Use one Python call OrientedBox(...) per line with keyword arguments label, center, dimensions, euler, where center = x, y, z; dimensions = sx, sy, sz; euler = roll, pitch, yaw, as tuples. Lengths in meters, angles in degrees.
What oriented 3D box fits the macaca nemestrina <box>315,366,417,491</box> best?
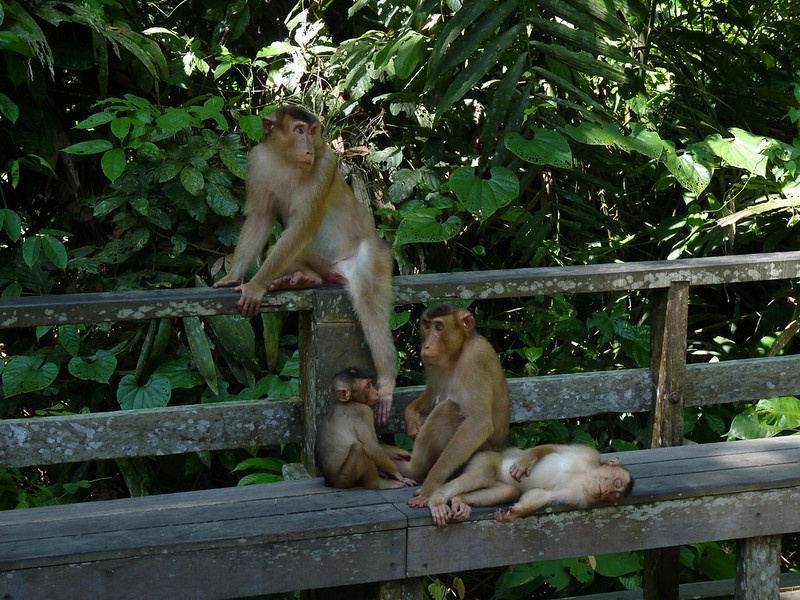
OrientedBox(label="macaca nemestrina", center=(-0.142, 0.553, 3.359), dimensions=(0.439, 0.521, 0.325), euler=(3, -7, -31))
